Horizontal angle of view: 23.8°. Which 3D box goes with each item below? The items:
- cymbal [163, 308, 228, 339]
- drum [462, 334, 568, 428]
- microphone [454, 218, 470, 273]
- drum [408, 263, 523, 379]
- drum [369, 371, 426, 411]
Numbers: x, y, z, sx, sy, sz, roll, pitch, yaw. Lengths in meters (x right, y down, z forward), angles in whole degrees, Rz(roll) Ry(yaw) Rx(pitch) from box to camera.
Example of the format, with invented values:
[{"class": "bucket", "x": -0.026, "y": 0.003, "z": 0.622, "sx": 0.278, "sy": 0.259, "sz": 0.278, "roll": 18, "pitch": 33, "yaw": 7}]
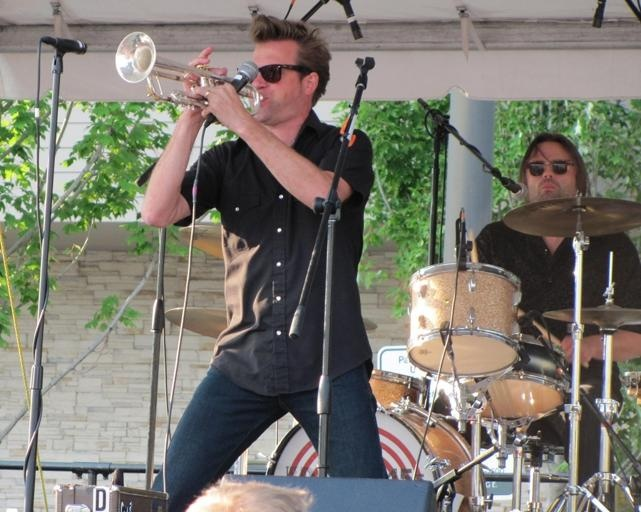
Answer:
[{"class": "cymbal", "x": -0.950, "y": 0.518, "z": 11.550, "sx": 0.468, "sy": 0.274, "sz": 0.420, "roll": 2, "pitch": -5, "yaw": -30}, {"class": "drum", "x": 1.392, "y": 0.884, "z": 10.509, "sx": 0.658, "sy": 0.630, "sz": 0.654, "roll": -1, "pitch": 3, "yaw": -22}, {"class": "microphone", "x": 0.935, "y": -0.065, "z": 10.006, "sx": 0.087, "sy": 0.383, "sz": 0.214, "roll": 0, "pitch": -11, "yaw": 5}, {"class": "drum", "x": 0.966, "y": 0.428, "z": 10.168, "sx": 0.702, "sy": 0.763, "sz": 0.694, "roll": -1, "pitch": 1, "yaw": -34}, {"class": "drum", "x": 0.580, "y": 1.000, "z": 10.868, "sx": 0.466, "sy": 0.263, "sz": 0.437, "roll": 7, "pitch": 0, "yaw": 0}]
